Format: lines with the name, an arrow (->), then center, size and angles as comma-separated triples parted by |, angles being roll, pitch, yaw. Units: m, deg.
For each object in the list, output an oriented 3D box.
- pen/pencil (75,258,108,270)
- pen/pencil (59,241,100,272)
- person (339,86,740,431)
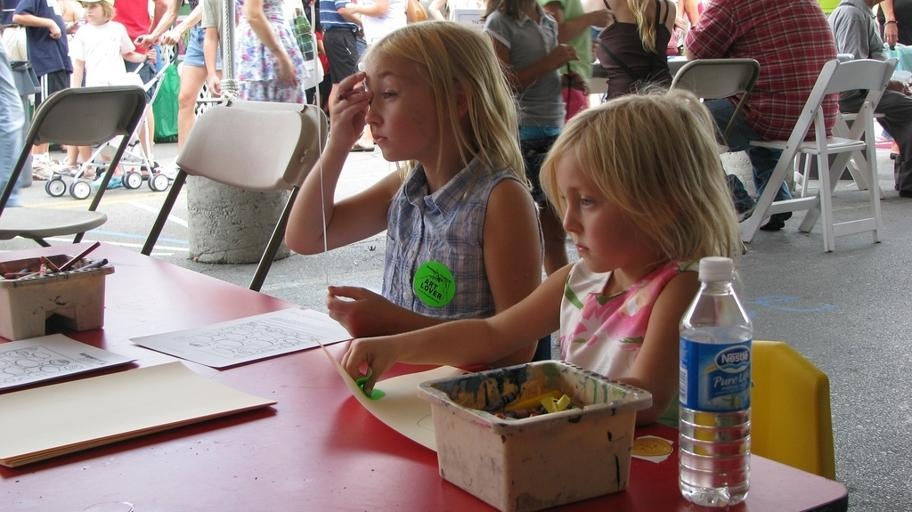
pen/pencil -> -0.983, 0.024, 1.881 | 0.070, 0.015, 0.015 | -10, 14, 4
pen/pencil -> -1.112, 0.006, 2.065 | 0.020, 0.118, 0.020 | 50, -3, 34
person -> 0.185, -0.073, 1.938 | 1.041, 0.967, 0.683 | -1, 8, -10
